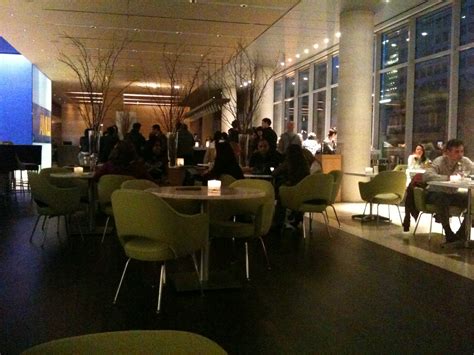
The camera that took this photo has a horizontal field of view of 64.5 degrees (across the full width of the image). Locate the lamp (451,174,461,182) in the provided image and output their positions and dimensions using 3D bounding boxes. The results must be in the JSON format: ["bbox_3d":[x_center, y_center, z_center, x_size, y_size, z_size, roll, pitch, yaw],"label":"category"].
[{"bbox_3d":[2.773,0.007,4.748,0.089,0.062,0.087,0,2,-3],"label":"lamp"}]

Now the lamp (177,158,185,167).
[{"bbox_3d":[-1.092,-0.291,7.242,0.145,0.142,0.144,3,-2,3],"label":"lamp"}]

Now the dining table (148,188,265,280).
[{"bbox_3d":[-0.335,0.473,3.472,0.983,0.693,0.959,-1,2,-38],"label":"dining table"}]

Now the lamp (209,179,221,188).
[{"bbox_3d":[-0.228,0.061,3.677,0.089,0.061,0.088,1,2,0],"label":"lamp"}]

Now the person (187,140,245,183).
[{"bbox_3d":[-0.304,-0.133,5.533,0.810,0.766,0.360,-8,-9,2],"label":"person"}]

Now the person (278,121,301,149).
[{"bbox_3d":[1.248,-0.905,8.702,0.559,0.814,0.462,1,20,11],"label":"person"}]

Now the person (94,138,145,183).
[{"bbox_3d":[-1.673,-0.185,5.442,0.782,0.719,0.418,-2,23,-39],"label":"person"}]

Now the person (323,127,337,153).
[{"bbox_3d":[2.519,-1.010,10.209,0.338,0.712,1.350,1,4,13],"label":"person"}]

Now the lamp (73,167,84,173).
[{"bbox_3d":[-2.341,-0.123,5.527,0.116,0.070,0.113,0,3,-23],"label":"lamp"}]

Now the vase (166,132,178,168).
[{"bbox_3d":[-1.153,-0.501,6.680,0.164,0.599,0.299,-1,4,-12],"label":"vase"}]
